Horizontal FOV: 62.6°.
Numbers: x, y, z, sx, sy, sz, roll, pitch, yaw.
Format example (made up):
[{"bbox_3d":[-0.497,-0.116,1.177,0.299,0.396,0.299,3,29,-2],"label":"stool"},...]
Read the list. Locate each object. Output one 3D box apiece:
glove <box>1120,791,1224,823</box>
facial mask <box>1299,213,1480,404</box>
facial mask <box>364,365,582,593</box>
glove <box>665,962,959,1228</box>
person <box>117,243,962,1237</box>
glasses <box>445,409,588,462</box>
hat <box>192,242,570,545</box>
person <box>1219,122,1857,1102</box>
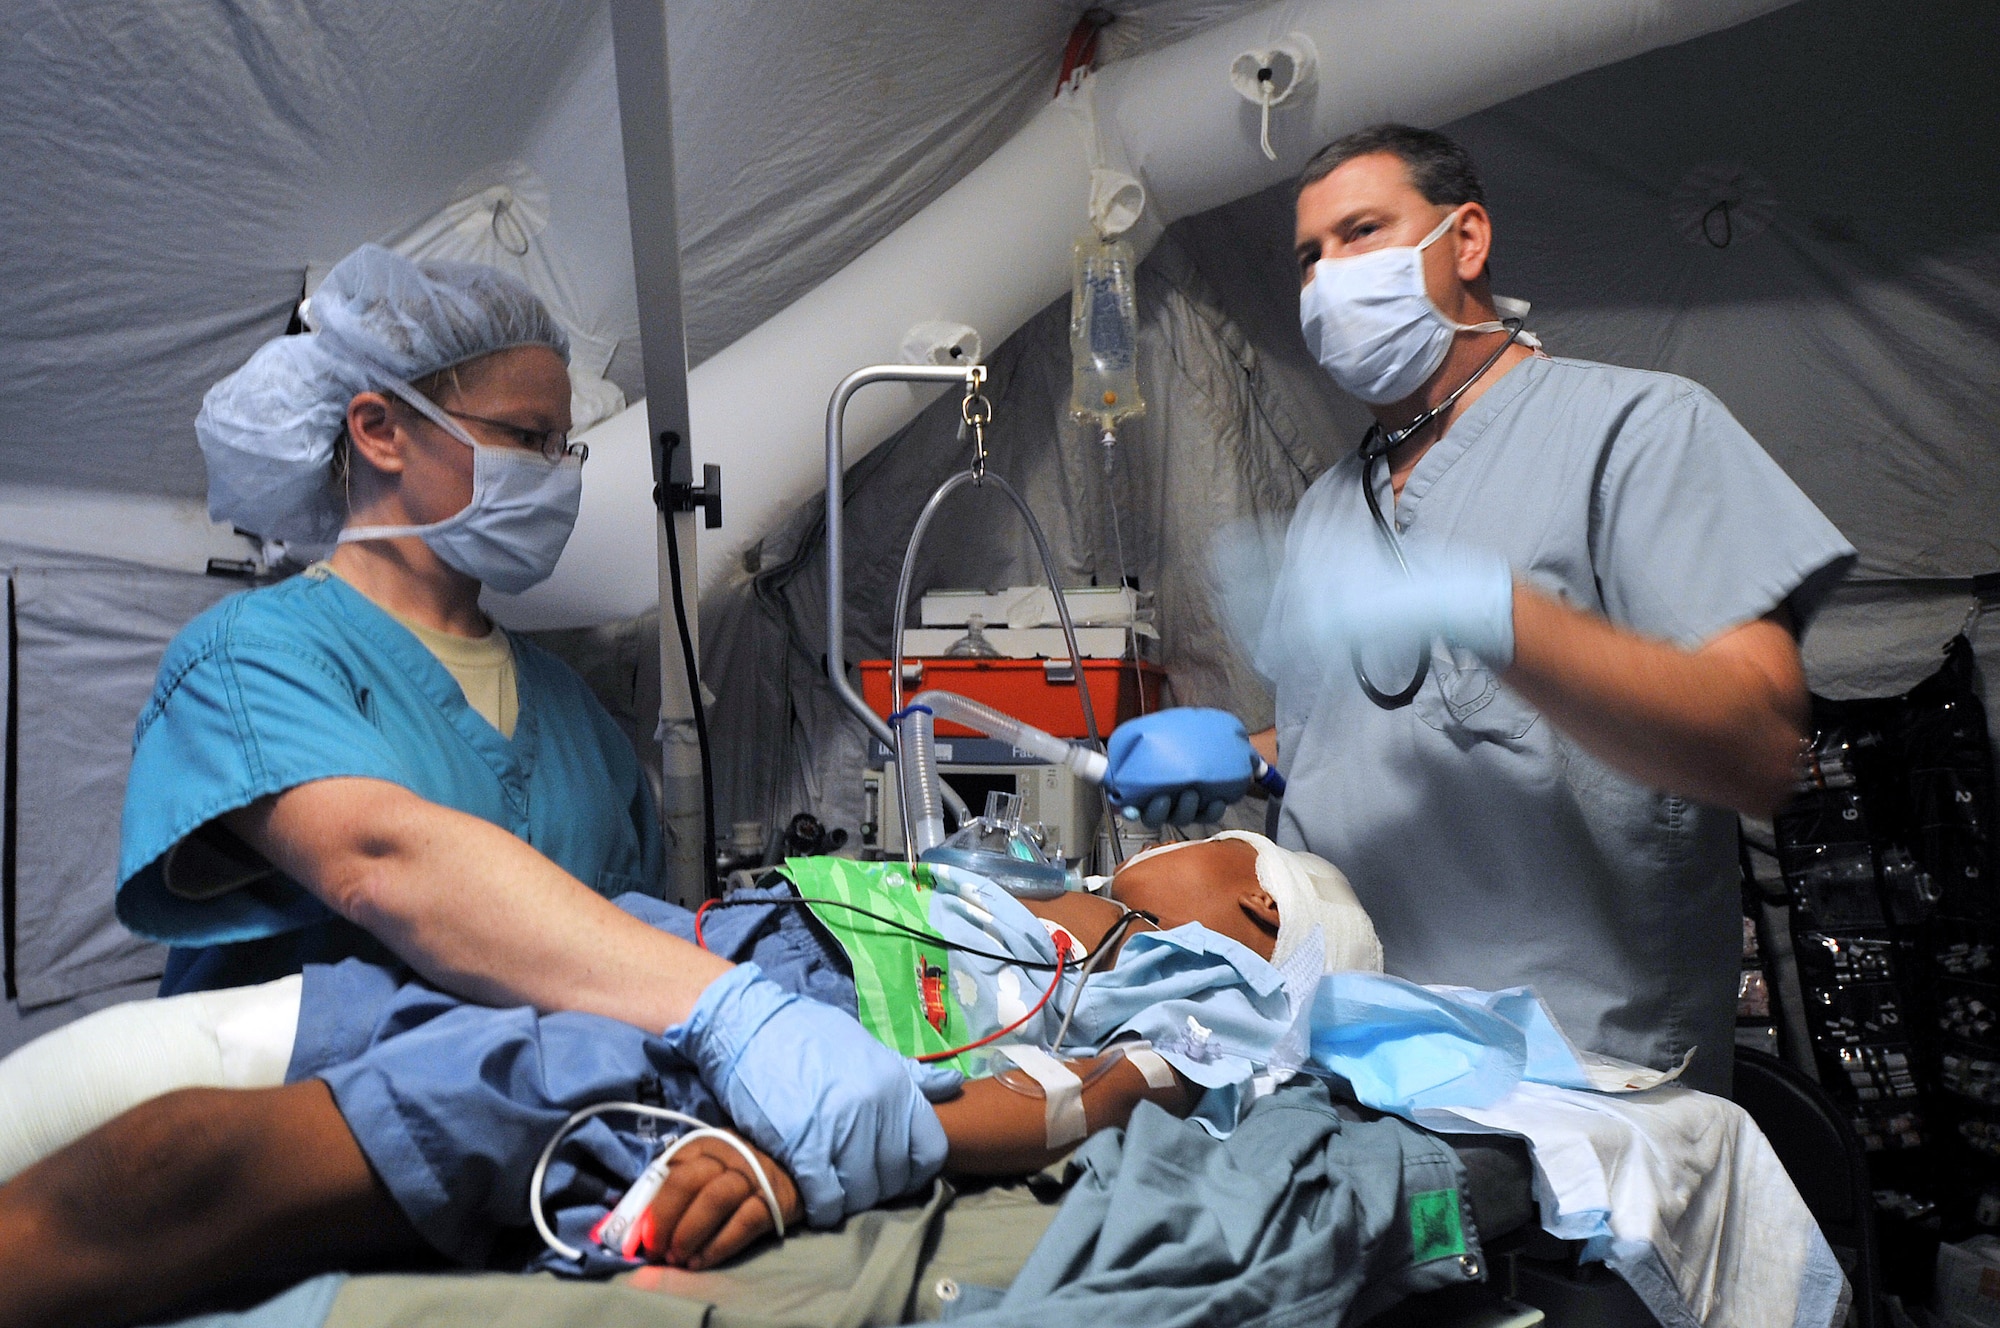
[{"bbox_3d":[0.315,0.253,2.909,0.097,0.044,0.093,0,-2,-23],"label":"glove"},{"bbox_3d":[0.725,-0.666,3.285,0.334,0.257,0.295,-34,19,-27],"label":"facial mask"},{"bbox_3d":[-0.992,-0.321,3.221,0.372,0.307,0.350,15,9,4],"label":"facial mask"},{"bbox_3d":[-0.280,0.652,2.546,0.324,0.381,0.176,-25,-27,-41],"label":"glove"},{"bbox_3d":[-0.863,0.086,3.036,1.418,1.730,1.118,-1,-9,37],"label":"person"},{"bbox_3d":[-0.909,-0.434,3.101,0.118,0.035,0.119,18,-2,4],"label":"glasses"},{"bbox_3d":[-1.201,-0.501,3.234,0.607,0.470,0.263,-32,-6,-9],"label":"hat"},{"bbox_3d":[0.996,-0.127,3.136,0.769,1.393,0.892,-4,-5,-17],"label":"person"}]
